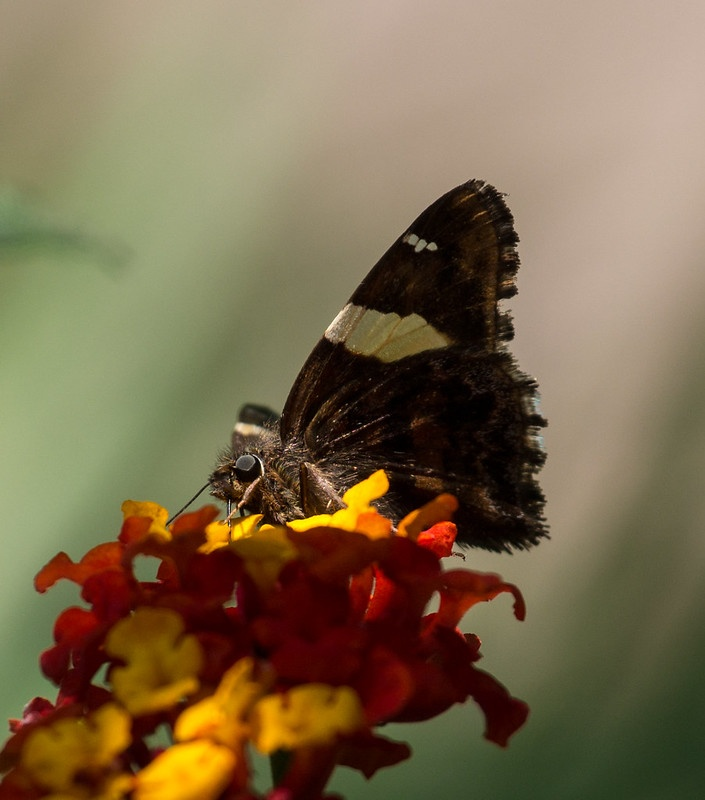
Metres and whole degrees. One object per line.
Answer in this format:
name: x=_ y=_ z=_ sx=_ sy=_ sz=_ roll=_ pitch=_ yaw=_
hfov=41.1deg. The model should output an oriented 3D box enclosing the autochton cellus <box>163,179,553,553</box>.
autochton cellus: x=0.050 y=-0.010 z=1.401 sx=0.621 sy=0.507 sz=0.374 roll=-3 pitch=3 yaw=15
